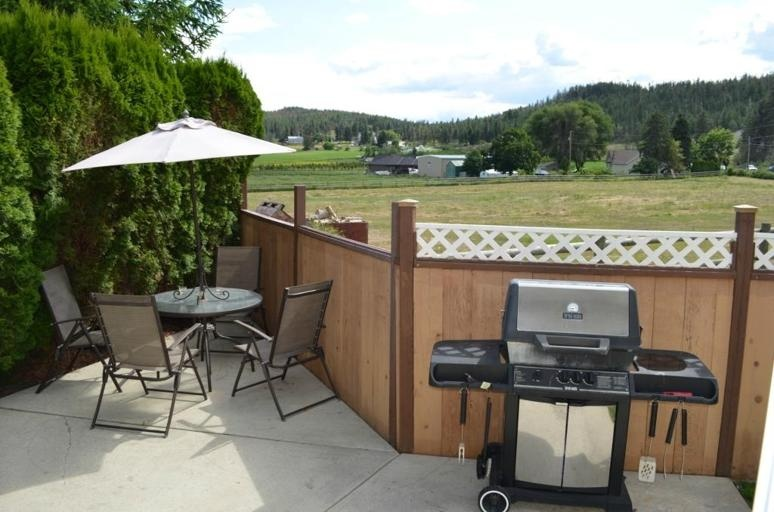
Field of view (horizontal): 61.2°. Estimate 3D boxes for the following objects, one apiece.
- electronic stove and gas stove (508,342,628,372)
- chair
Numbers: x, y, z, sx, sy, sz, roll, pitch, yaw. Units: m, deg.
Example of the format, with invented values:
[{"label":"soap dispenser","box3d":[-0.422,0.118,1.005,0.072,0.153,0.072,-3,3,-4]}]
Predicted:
[{"label":"electronic stove and gas stove","box3d":[1.720,1.130,6.104,0.978,0.292,0.222,3,28,0]},{"label":"chair","box3d":[-3.149,1.089,8.748,2.663,1.813,2.965,-6,11,-36]}]
